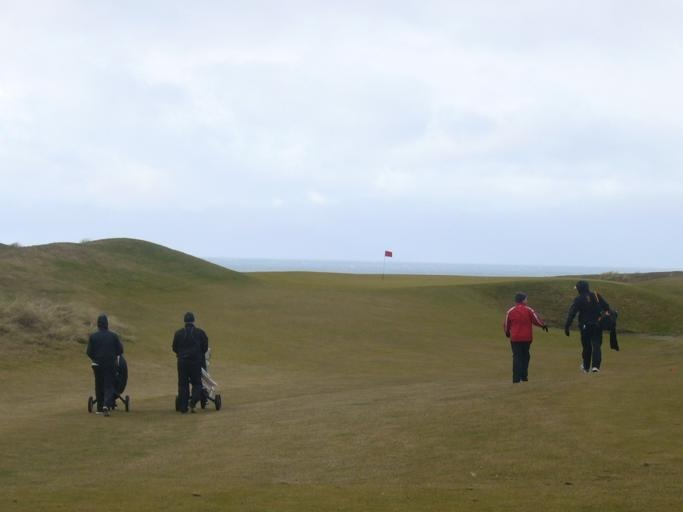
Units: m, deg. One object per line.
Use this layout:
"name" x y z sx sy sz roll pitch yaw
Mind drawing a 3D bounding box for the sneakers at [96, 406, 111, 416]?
"sneakers" -5.743 3.763 33.196 0.162 0.197 0.458 16 -18 4

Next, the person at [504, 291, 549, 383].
"person" 4.540 2.008 34.950 0.905 2.304 0.841 -16 19 -42

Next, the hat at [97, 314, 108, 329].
"hat" -5.852 1.545 33.601 0.308 0.351 0.339 -1 -4 -38

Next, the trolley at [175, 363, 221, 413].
"trolley" -3.610 3.189 34.526 1.000 0.874 1.810 -2 24 -10

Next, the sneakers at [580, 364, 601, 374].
"sneakers" 6.394 2.881 35.246 0.198 0.264 0.606 6 1 0

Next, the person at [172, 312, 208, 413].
"person" -3.738 2.558 33.721 0.747 2.344 1.130 2 15 18

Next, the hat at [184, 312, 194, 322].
"hat" -3.769 1.432 33.938 0.204 0.192 0.291 -1 -1 -5
